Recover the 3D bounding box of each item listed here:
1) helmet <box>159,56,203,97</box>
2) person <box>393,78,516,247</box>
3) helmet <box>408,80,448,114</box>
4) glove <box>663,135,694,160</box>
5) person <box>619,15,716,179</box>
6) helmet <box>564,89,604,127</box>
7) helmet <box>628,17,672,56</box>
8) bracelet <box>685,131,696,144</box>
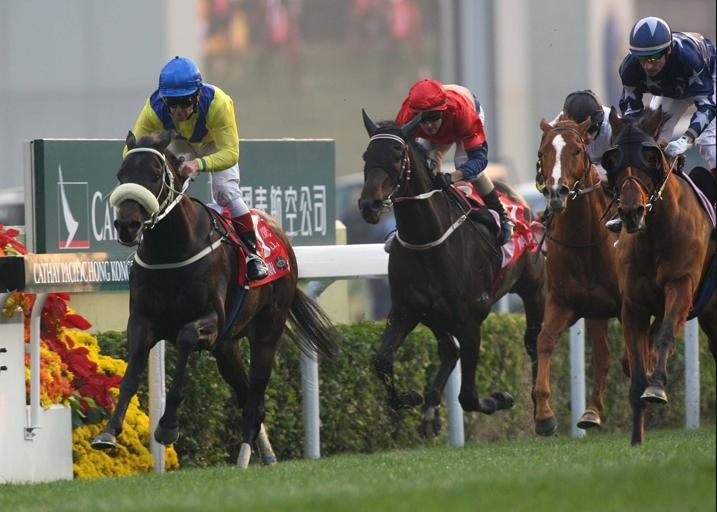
[{"bbox_3d":[-1.460,-1.462,13.210,0.355,0.300,0.471,-2,13,6],"label":"helmet"},{"bbox_3d":[0.843,-0.814,14.492,1.113,1.450,0.957,0,12,-1],"label":"person"},{"bbox_3d":[0.588,-1.374,14.011,0.341,0.237,0.218,-4,2,3],"label":"helmet"},{"bbox_3d":[2.605,-0.889,13.275,0.145,0.111,0.273,-33,-5,39],"label":"glove"},{"bbox_3d":[2.629,-1.304,13.951,0.616,1.046,1.482,-7,-25,20],"label":"person"},{"bbox_3d":[1.933,-1.227,14.013,0.331,0.400,0.453,-6,-5,11],"label":"helmet"},{"bbox_3d":[2.432,-1.850,13.618,0.336,0.266,0.485,7,25,38],"label":"helmet"},{"bbox_3d":[2.729,-0.983,13.387,0.079,0.084,0.106,16,-2,2],"label":"bracelet"}]
